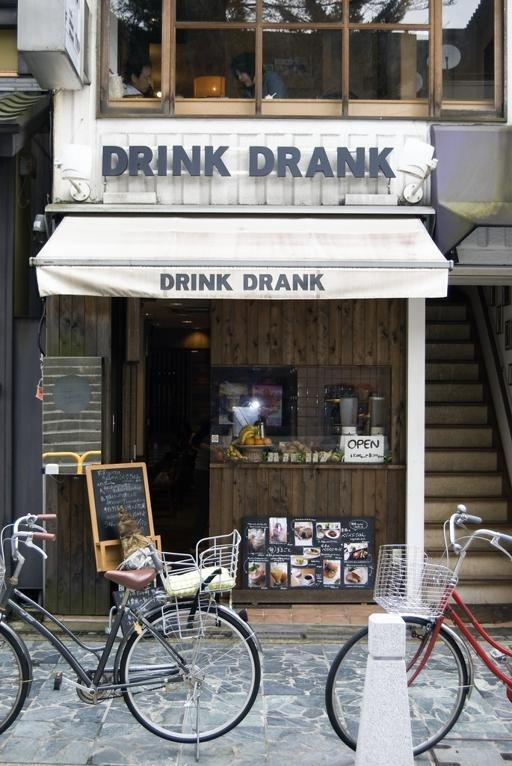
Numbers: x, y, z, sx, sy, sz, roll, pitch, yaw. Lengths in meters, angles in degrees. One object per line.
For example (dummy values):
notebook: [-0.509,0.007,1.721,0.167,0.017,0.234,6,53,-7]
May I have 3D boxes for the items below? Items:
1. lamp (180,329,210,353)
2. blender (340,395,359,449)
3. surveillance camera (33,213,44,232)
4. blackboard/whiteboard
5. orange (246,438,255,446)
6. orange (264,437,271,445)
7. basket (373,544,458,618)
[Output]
lamp: [-1.015,-0.750,16.907,0.433,0.391,0.775,-2,4,-28]
blender: [0.777,0.346,7.956,0.154,0.480,0.172,7,15,31]
surveillance camera: [-1.605,-1.204,7.186,0.086,0.137,0.229,-1,3,-4]
blackboard/whiteboard: [-0.979,0.882,6.883,0.488,0.720,0.059,-3,-9,-29]
orange: [-0.035,0.488,7.844,0.050,0.062,0.058,6,24,-29]
orange: [0.108,0.484,7.890,0.043,0.034,0.047,0,0,-20]
basket: [0.861,1.088,5.281,0.413,0.377,0.676,0,4,6]
